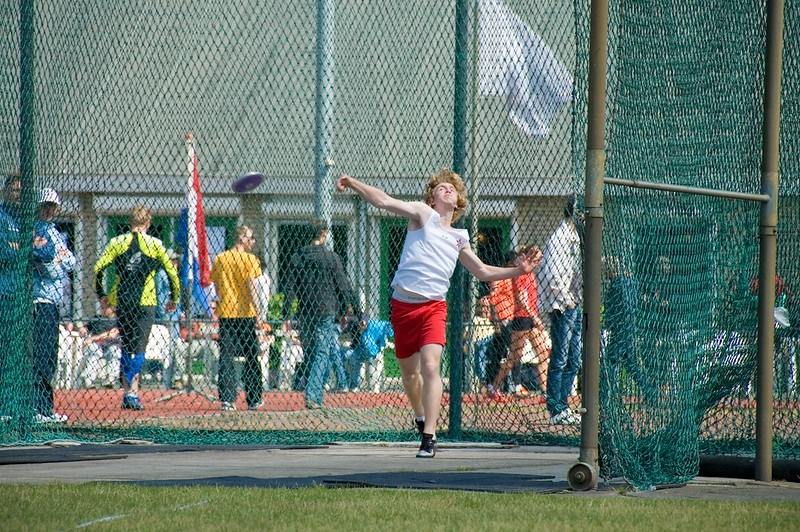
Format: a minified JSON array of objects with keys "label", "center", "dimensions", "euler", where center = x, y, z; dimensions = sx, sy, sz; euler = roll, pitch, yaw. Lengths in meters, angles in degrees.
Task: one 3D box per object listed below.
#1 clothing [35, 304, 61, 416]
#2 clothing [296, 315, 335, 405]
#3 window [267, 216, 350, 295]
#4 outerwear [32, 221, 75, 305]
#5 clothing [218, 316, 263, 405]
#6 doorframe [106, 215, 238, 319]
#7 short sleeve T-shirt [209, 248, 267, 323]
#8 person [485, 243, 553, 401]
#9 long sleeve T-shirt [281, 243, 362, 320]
[{"label":"clothing","center":[-3.363,0.877,14.780],"dimensions":[0.216,1.121,0.233],"euler":[-1,0,21]},{"label":"clothing","center":[-0.814,0.937,15.934],"dimensions":[0.214,1.135,0.313],"euler":[4,6,3]},{"label":"window","center":[-0.883,-0.067,16.176],"dimensions":[0.760,0.942,0.024],"euler":[-6,-32,18]},{"label":"outerwear","center":[-3.334,-0.002,14.994],"dimensions":[0.318,1.011,0.426],"euler":[-12,-20,-18]},{"label":"clothing","center":[-1.673,0.930,16.103],"dimensions":[0.396,0.957,0.223],"euler":[3,-16,-11]},{"label":"doorframe","center":[-2.682,0.008,18.014],"dimensions":[0.040,1.390,1.683],"euler":[-16,7,-26]},{"label":"short sleeve T-shirt","center":[-1.719,0.192,16.540],"dimensions":[0.614,0.918,0.294],"euler":[-2,-4,14]},{"label":"person","center":[1.175,0.531,15.174],"dimensions":[0.604,1.504,0.437],"euler":[-3,7,-4]},{"label":"long sleeve T-shirt","center":[-0.793,0.146,16.073],"dimensions":[0.546,1.225,0.318],"euler":[-4,-5,15]}]
